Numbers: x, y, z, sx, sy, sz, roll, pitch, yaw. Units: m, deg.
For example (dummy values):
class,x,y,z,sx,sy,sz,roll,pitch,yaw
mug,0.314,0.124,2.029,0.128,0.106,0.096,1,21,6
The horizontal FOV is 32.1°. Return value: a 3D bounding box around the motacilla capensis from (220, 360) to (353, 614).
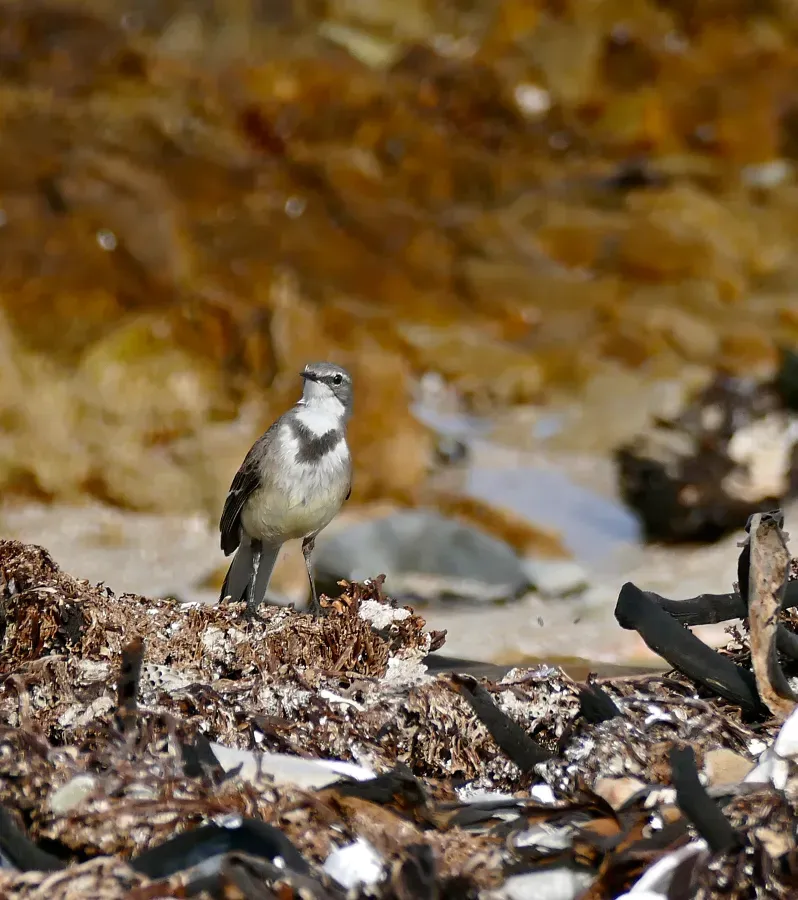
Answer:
class,x,y,z,sx,sy,sz,roll,pitch,yaw
motacilla capensis,-0.271,0.078,3.378,0.314,0.586,0.340,2,3,-6
